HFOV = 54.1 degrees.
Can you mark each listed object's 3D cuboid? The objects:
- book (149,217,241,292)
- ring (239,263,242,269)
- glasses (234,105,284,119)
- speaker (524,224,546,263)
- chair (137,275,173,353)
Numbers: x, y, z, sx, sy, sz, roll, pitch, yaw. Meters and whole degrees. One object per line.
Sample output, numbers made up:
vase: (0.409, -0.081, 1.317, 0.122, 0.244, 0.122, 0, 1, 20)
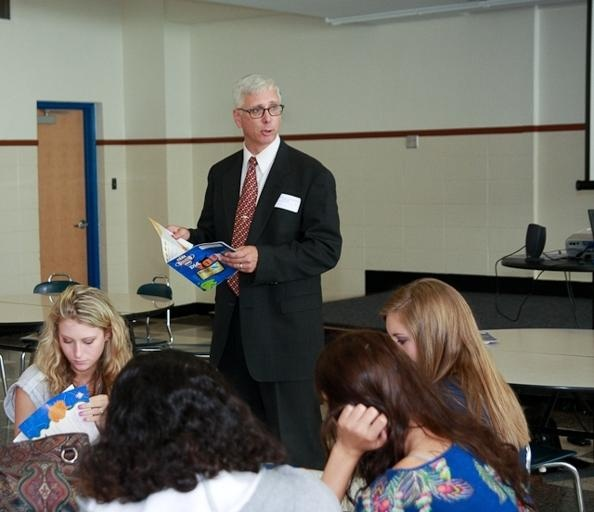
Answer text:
book: (-0.431, 0.015, 2.339, 0.276, 0.245, 0.425, -8, 15, -41)
ring: (-0.219, 0.040, 2.286, 0.004, 0.016, 0.015, 6, -4, 7)
glasses: (-0.154, -0.632, 2.554, 0.190, 0.066, 0.169, 1, 11, -3)
speaker: (1.921, -0.113, 4.711, 0.129, 0.274, 0.202, 4, 11, 16)
chair: (-1.152, 0.453, 4.584, 0.320, 0.554, 0.354, 4, 8, 37)
